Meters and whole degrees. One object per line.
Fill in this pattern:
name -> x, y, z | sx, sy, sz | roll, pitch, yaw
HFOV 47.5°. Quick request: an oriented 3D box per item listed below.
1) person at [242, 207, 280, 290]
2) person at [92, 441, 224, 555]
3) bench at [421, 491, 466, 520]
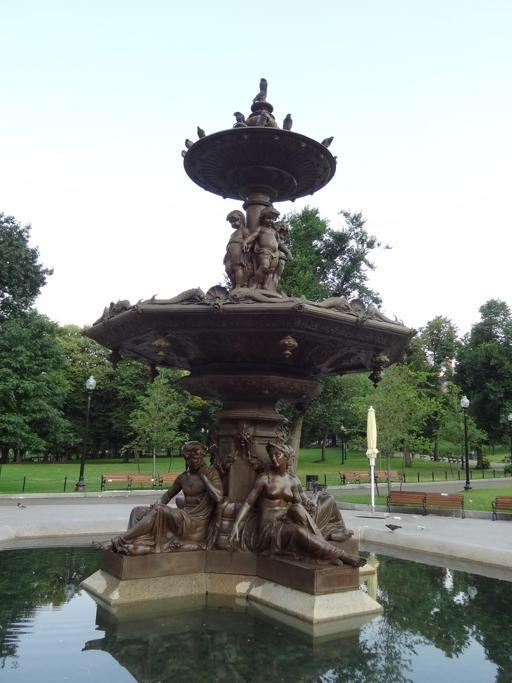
person -> 0.090, -1.287, 8.037 | 0.429, 1.259, 0.383 | -1, -12, 10
person -> -1.009, 1.844, 7.054 | 0.607, 1.266, 1.386 | -9, -15, 40
bench -> 5.877, 5.166, 18.262 | 1.540, 0.736, 0.559 | -16, -19, 36
